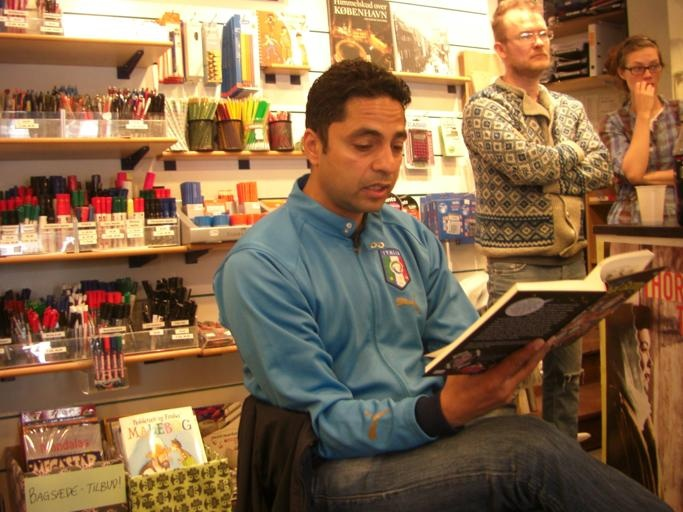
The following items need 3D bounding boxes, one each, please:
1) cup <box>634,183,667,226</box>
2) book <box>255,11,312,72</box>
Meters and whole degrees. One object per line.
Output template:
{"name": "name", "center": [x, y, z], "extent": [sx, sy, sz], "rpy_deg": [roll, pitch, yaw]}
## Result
{"name": "cup", "center": [1.337, -0.215, 2.503], "extent": [0.149, 0.181, 0.155], "rpy_deg": [1, -3, 0]}
{"name": "book", "center": [-0.384, -1.342, 3.606], "extent": [0.415, 0.424, 0.058], "rpy_deg": [3, -8, -33]}
